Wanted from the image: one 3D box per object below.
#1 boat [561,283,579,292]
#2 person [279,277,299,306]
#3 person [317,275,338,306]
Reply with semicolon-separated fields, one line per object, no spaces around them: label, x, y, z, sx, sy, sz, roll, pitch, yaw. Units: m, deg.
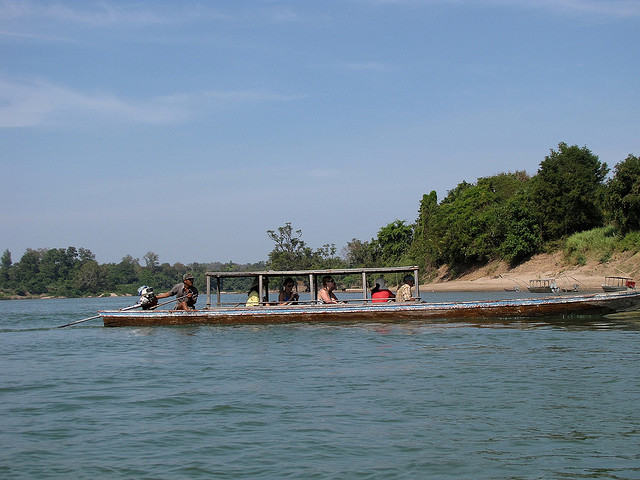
boat;17.502;3.366;66.466;1.373;0.416;0.696;-1;-1;5
person;-1.306;2.220;40.349;0.866;1.543;0.862;2;-45;-11
person;0.490;2.211;40.299;1.102;1.285;0.986;5;4;22
